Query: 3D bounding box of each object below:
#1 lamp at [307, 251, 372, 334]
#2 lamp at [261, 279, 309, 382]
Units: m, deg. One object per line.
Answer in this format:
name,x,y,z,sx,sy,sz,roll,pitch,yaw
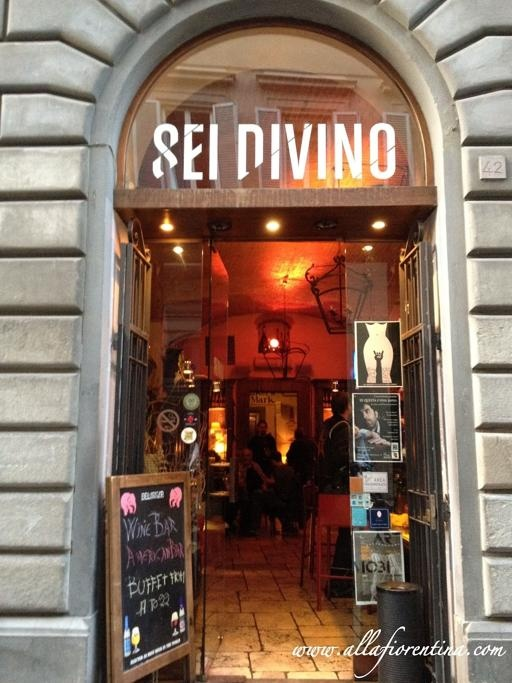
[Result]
lamp,1.210,-0.724,8.548,1.005,1.353,1.034,-1,-26,4
lamp,0.465,-0.071,11.710,1.017,1.409,1.931,2,-10,8
